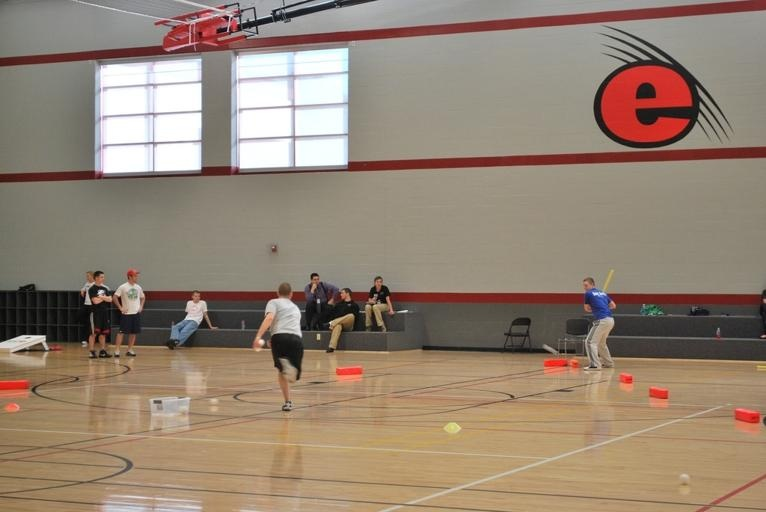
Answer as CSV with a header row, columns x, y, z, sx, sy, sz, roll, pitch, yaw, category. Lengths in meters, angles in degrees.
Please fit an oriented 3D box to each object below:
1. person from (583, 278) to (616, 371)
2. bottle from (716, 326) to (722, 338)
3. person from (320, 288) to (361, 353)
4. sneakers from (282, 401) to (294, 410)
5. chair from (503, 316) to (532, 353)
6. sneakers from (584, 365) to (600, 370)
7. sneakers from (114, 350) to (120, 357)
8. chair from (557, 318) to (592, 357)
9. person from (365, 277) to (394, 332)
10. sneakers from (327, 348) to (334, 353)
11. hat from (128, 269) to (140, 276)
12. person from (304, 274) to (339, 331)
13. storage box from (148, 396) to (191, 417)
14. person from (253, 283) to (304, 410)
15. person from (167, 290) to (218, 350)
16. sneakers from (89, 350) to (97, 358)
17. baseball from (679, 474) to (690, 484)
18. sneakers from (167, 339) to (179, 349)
x,y,z,sx,sy,sz,roll,pitch,yaw,category
4.696,1.458,15.644,0.597,1.965,0.702,-2,-6,16,person
8.107,1.839,17.429,0.113,0.252,0.375,-3,-7,25,bottle
-1.055,1.684,19.117,0.861,1.700,0.924,0,-6,0,person
-1.444,2.241,10.852,0.097,0.096,0.233,2,-3,-5,sneakers
3.579,2.061,19.088,0.581,0.681,0.627,3,10,16,chair
4.461,2.385,15.403,0.314,0.107,0.116,2,-5,5,sneakers
-6.504,2.392,17.658,0.114,0.126,0.330,1,-9,-14,sneakers
4.781,1.983,17.984,0.679,0.938,0.708,3,1,17,chair
-0.151,1.300,19.467,0.729,1.427,0.633,2,-7,-21,person
-1.341,2.435,18.682,0.229,0.115,0.190,2,-7,-21,sneakers
-6.391,0.418,18.498,0.229,0.122,0.152,-12,2,2,hat
-1.857,1.190,19.676,0.924,1.450,1.201,2,11,29,person
-3.158,2.223,10.693,0.406,0.149,0.307,3,-4,-44,storage box
-1.569,1.369,11.045,0.646,1.936,1.525,0,-6,-6,person
-5.388,1.735,19.748,1.022,1.013,1.860,7,20,11,person
-6.959,2.360,17.354,0.138,0.192,0.327,2,-7,-22,sneakers
3.258,2.396,7.766,0.165,0.098,0.091,1,-6,-16,baseball
-5.648,2.378,19.488,0.224,0.279,0.438,-2,-7,18,sneakers
